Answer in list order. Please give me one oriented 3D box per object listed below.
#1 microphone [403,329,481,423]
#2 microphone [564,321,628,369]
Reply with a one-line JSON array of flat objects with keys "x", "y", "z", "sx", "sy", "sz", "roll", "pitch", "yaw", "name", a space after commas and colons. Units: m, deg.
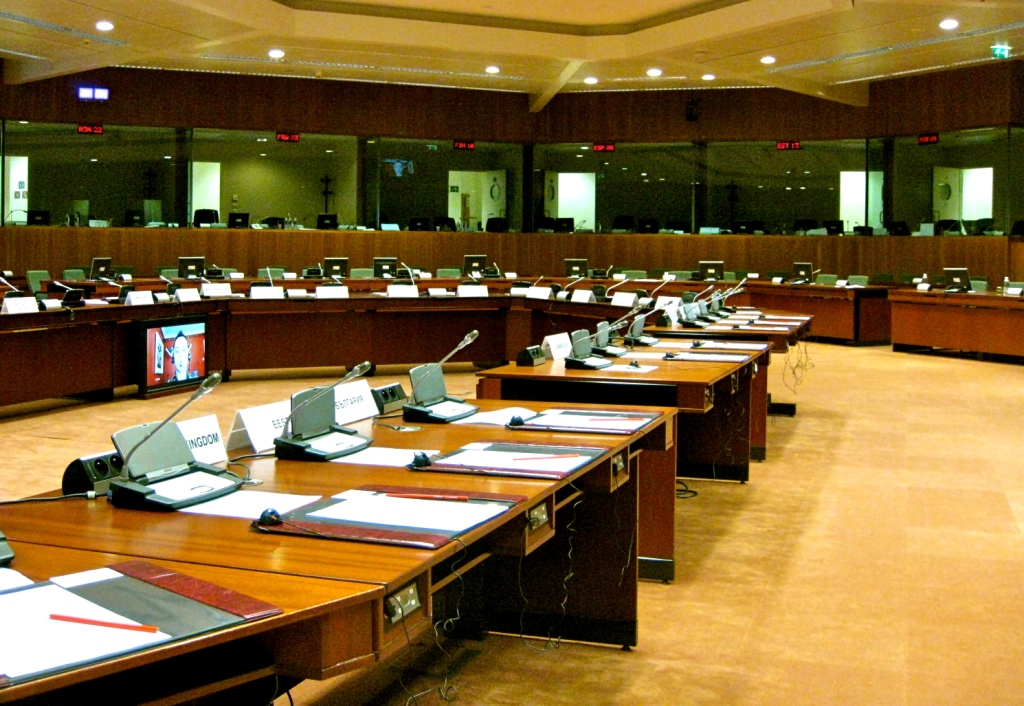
[{"x": -0.285, "y": 0.097, "z": 3.348, "sx": 0.310, "sy": 0.359, "sz": 0.300, "roll": 5, "pitch": 10, "yaw": 23, "name": "microphone"}, {"x": 0.503, "y": -0.009, "z": 4.586, "sx": 0.244, "sy": 0.167, "sz": 0.408, "roll": 15, "pitch": 12, "yaw": 20, "name": "microphone"}]
